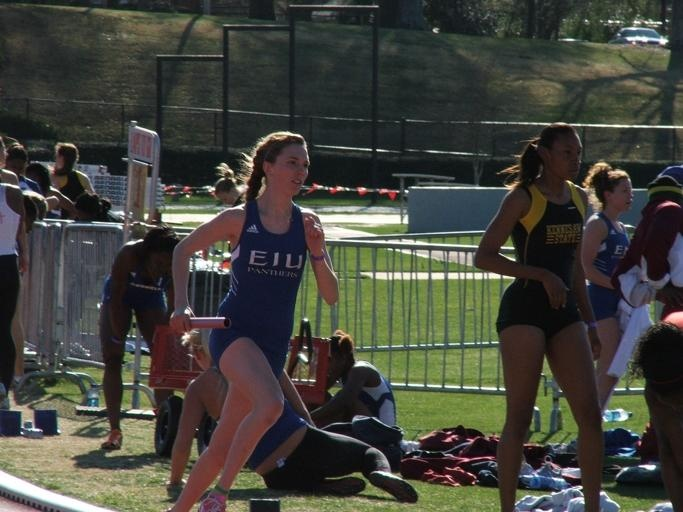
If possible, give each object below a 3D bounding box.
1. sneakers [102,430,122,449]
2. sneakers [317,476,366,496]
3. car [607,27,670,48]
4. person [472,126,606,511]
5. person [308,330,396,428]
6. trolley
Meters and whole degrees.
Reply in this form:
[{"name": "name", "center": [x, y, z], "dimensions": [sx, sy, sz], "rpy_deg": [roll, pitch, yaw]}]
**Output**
[{"name": "sneakers", "center": [-2.629, 2.058, 16.748], "dimensions": [0.226, 0.199, 0.389], "rpy_deg": [3, 4, -8]}, {"name": "sneakers", "center": [0.017, 2.445, 15.728], "dimensions": [0.377, 0.220, 0.108], "rpy_deg": [-2, 36, 8]}, {"name": "car", "center": [15.988, -11.840, 78.833], "dimensions": [2.837, 1.082, 2.704], "rpy_deg": [6, 5, 21]}, {"name": "person", "center": [2.126, 0.619, 15.286], "dimensions": [1.373, 4.034, 0.718], "rpy_deg": [4, 4, 5]}, {"name": "person", "center": [-0.071, 1.530, 17.346], "dimensions": [1.316, 1.292, 0.971], "rpy_deg": [-1, -5, 10]}, {"name": "trolley", "center": [-1.050, 1.710, 17.046], "dimensions": [2.209, 1.723, 1.586], "rpy_deg": [6, -1, -23]}]
